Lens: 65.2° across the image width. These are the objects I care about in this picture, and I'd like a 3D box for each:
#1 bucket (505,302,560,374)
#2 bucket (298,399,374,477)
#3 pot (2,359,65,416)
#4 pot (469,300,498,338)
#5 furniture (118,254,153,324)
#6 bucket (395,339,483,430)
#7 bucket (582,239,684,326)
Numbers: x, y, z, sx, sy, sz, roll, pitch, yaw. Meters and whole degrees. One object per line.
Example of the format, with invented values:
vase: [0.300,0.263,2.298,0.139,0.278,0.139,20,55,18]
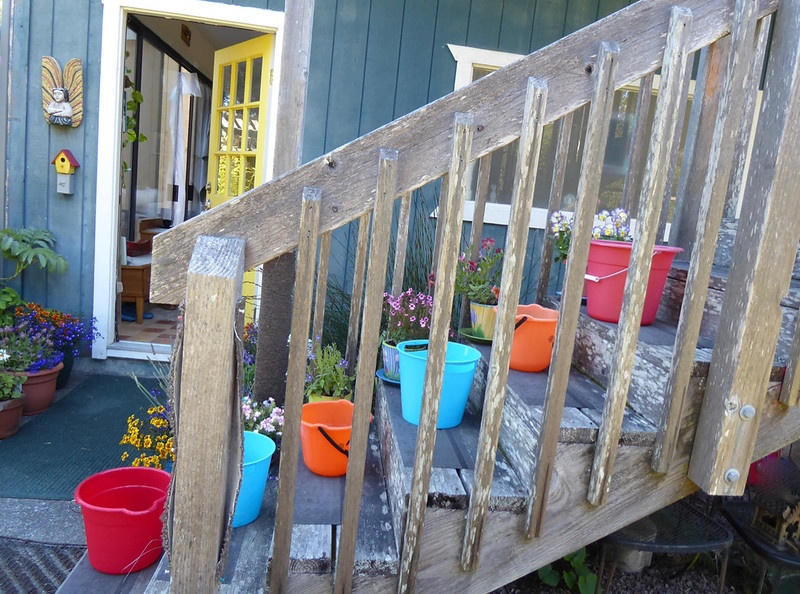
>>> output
bucket: [0.518,0.176,2.568,0.245,0.265,0.261,1,5,0]
bucket: [-0.274,0.580,2.504,0.300,0.243,0.279,7,7,-1]
pot: [-2.179,0.562,3.738,0.265,0.237,0.281,-3,3,0]
pot: [0.374,0.103,2.812,0.131,0.163,0.142,2,4,0]
furniture: [-2.206,-0.061,5.170,0.159,0.288,0.537,-1,14,-10]
bucket: [0.116,0.313,2.387,0.310,0.265,0.313,9,10,-1]
bucket: [0.924,-0.066,2.540,0.383,0.343,0.391,3,13,-1]
